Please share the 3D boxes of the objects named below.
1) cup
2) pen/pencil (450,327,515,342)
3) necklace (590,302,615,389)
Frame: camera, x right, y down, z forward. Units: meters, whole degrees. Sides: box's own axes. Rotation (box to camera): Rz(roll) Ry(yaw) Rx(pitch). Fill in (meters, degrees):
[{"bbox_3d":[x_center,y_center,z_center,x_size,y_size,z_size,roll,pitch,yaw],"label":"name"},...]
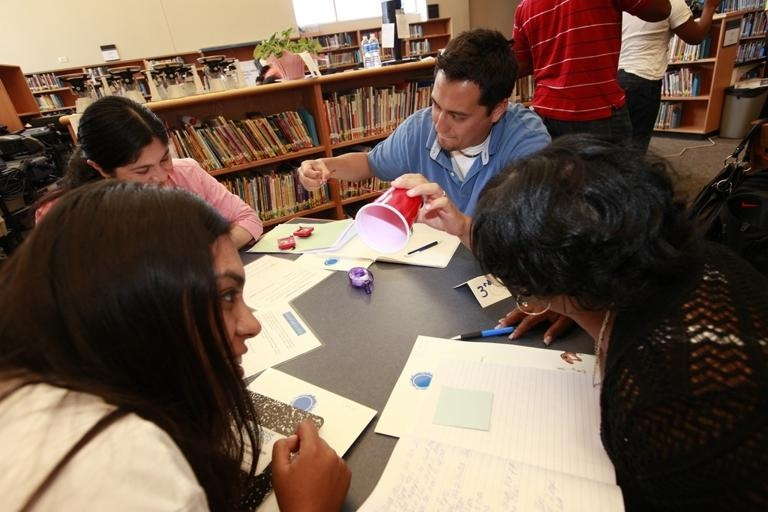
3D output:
[{"bbox_3d":[0.021,-0.105,1.376,0.161,0.197,0.142,16,46,21],"label":"cup"},{"bbox_3d":[0.291,0.230,1.370,0.143,0.015,0.016,-7,31,-8],"label":"pen/pencil"},{"bbox_3d":[0.541,0.220,1.163,0.019,0.244,0.059,13,61,25],"label":"necklace"}]
